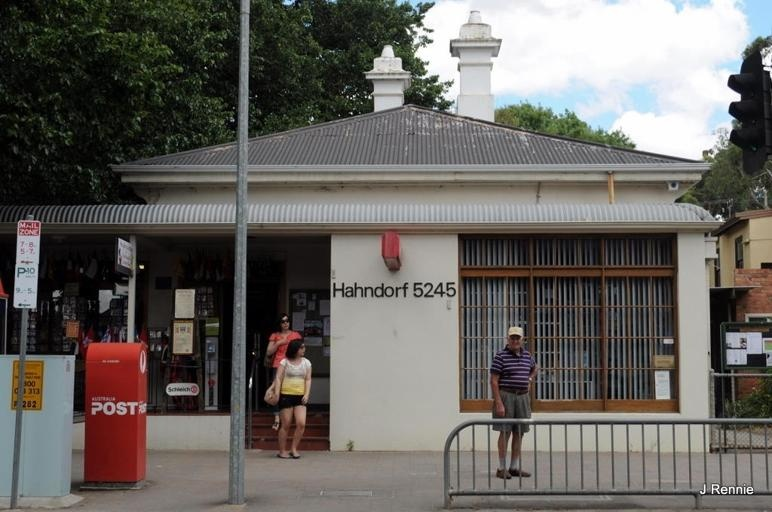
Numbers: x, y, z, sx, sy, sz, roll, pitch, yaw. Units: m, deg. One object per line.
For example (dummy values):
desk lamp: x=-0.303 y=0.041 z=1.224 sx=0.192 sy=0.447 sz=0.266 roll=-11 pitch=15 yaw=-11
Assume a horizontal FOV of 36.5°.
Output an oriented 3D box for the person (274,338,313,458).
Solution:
person: x=-2.045 y=3.170 z=25.737 sx=0.757 sy=2.621 sz=0.766 roll=2 pitch=0 yaw=3

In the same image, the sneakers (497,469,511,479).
sneakers: x=2.362 y=4.420 z=23.578 sx=0.192 sy=0.162 sz=0.395 roll=3 pitch=-12 yaw=-12

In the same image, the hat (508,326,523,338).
hat: x=2.693 y=1.600 z=24.286 sx=0.274 sy=0.148 sz=0.442 roll=0 pitch=-6 yaw=5

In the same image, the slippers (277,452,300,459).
slippers: x=-2.158 y=4.432 z=25.756 sx=0.370 sy=0.108 sz=0.188 roll=-7 pitch=-10 yaw=18

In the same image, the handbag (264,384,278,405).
handbag: x=-2.498 y=3.051 z=25.657 sx=0.244 sy=0.412 sz=0.356 roll=0 pitch=-9 yaw=-4
